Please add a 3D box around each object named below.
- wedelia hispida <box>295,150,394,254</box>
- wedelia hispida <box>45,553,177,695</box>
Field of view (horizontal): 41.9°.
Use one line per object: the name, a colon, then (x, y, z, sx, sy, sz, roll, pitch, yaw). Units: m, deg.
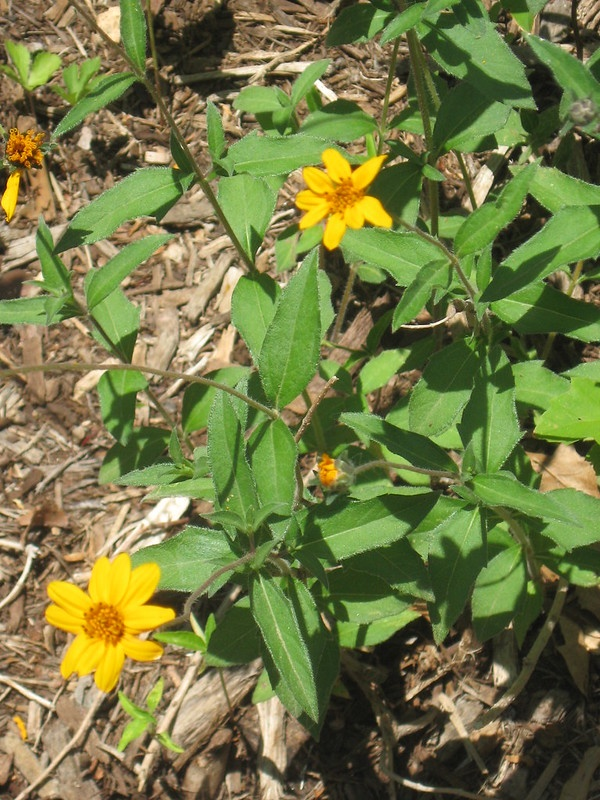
wedelia hispida: (0.112, -0.571, 2.130, 0.287, 0.298, 0.067, -12, 67, 28)
wedelia hispida: (-0.507, 0.587, 2.073, 0.365, 0.106, 0.373, -41, 41, -5)
